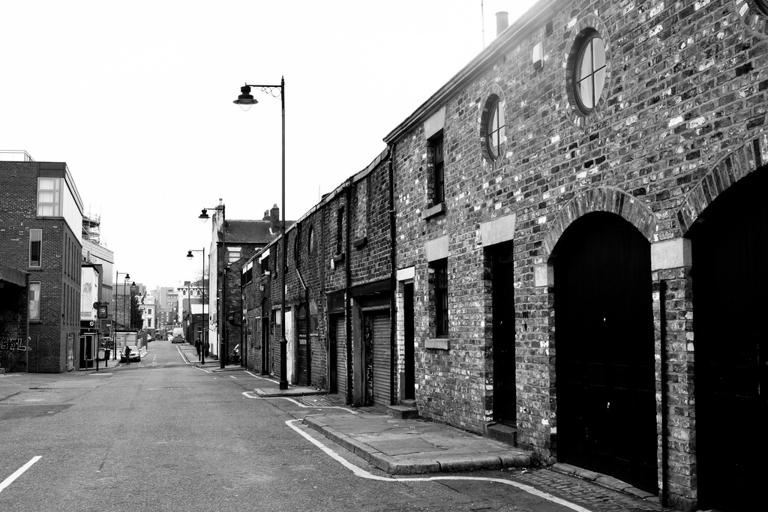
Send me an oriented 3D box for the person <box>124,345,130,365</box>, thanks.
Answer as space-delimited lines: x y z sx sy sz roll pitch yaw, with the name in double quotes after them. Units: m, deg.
-21.532 8.215 63.983 0.359 1.365 0.840 4 -12 -22 "person"
